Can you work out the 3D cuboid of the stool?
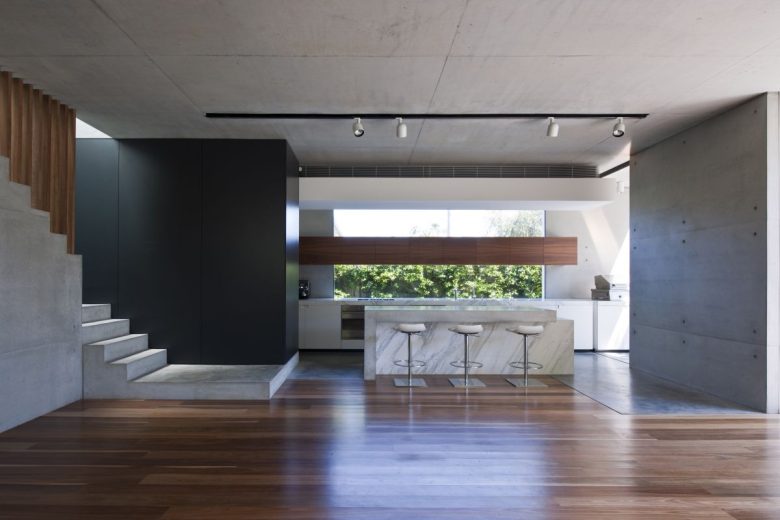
[{"bbox_3d":[1.137,1.328,9.119,2.052,0.848,0.970,0,5,1],"label":"stool"}]

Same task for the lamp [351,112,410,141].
[{"bbox_3d":[-0.147,-1.803,8.689,0.757,0.258,0.851,0,5,4],"label":"lamp"}]

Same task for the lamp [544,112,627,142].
[{"bbox_3d":[2.701,-1.809,8.704,1.115,0.239,1.020,1,5,6],"label":"lamp"}]
